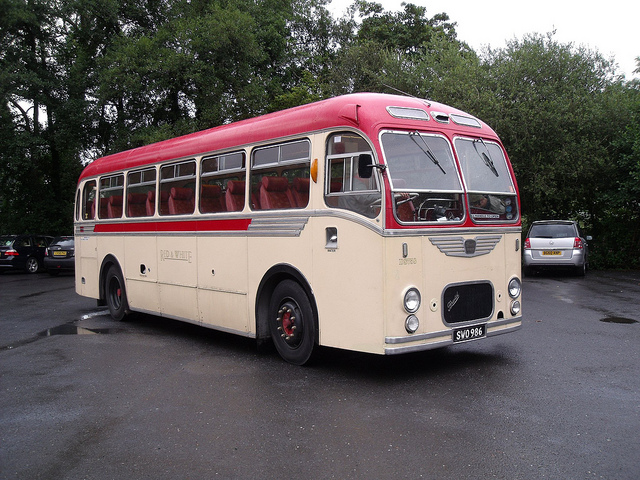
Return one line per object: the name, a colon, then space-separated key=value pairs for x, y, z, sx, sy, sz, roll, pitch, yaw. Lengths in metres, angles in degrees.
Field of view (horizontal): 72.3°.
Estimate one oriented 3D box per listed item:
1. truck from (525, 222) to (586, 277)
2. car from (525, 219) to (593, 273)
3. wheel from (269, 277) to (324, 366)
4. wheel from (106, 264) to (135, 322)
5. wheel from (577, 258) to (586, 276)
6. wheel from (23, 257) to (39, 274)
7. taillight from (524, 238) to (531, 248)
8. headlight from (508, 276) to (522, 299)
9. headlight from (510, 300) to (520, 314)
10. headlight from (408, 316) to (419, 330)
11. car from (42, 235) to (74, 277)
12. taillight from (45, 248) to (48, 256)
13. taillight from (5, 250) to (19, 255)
truck: x=9.877 y=0.373 z=18.455 sx=1.700 sy=1.447 sz=3.097 roll=-1 pitch=4 yaw=24
car: x=9.746 y=0.365 z=17.858 sx=1.964 sy=1.469 sz=3.115 roll=-1 pitch=3 yaw=27
wheel: x=-0.348 y=1.184 z=6.502 sx=0.329 sy=1.234 sz=1.110 roll=-2 pitch=9 yaw=-32
wheel: x=-4.811 y=1.266 z=10.511 sx=0.335 sy=1.277 sz=1.005 roll=5 pitch=11 yaw=-43
wheel: x=10.615 y=1.117 z=17.731 sx=0.246 sy=0.762 sz=0.703 roll=3 pitch=1 yaw=15
wheel: x=-16.052 y=1.406 z=24.090 sx=0.320 sy=0.901 sz=0.818 roll=2 pitch=3 yaw=31
taillight: x=8.372 y=0.151 z=17.600 sx=0.087 sy=0.379 sz=0.337 roll=-1 pitch=1 yaw=-6
headlight: x=2.951 y=0.730 z=6.628 sx=0.307 sy=0.415 sz=0.157 roll=1 pitch=-3 yaw=-39
headlight: x=2.958 y=1.011 z=6.617 sx=0.170 sy=0.191 sz=0.163 roll=1 pitch=2 yaw=-43
headlight: x=1.188 y=1.063 z=5.555 sx=0.132 sy=0.146 sz=0.033 roll=23 pitch=-12 yaw=-30
car: x=-12.741 y=0.721 z=21.222 sx=1.372 sy=1.353 sz=2.583 roll=0 pitch=6 yaw=-26
taillight: x=-13.488 y=0.655 z=21.491 sx=0.148 sy=0.304 sz=0.038 roll=0 pitch=2 yaw=36
taillight: x=-16.600 y=0.700 z=23.427 sx=0.595 sy=0.248 sz=0.122 roll=-1 pitch=2 yaw=-11
